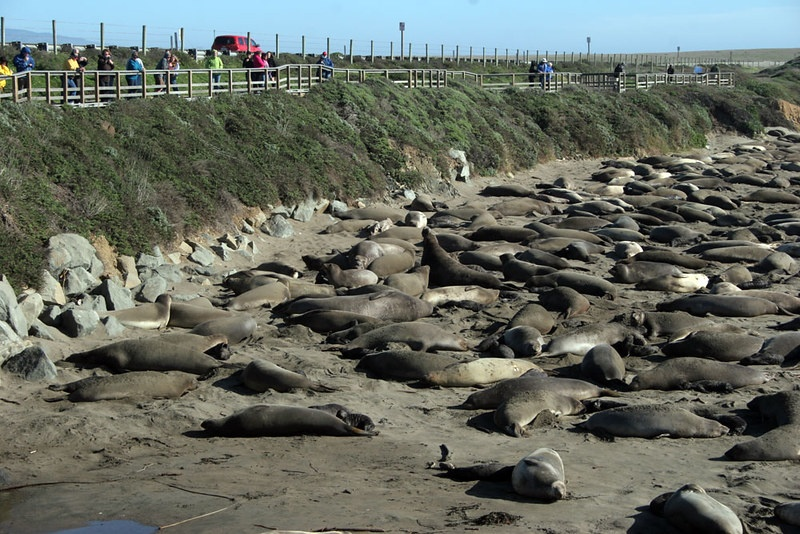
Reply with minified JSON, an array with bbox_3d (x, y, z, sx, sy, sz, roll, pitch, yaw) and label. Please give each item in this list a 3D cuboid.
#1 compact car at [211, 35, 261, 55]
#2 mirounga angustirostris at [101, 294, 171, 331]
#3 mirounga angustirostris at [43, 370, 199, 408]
[{"bbox_3d":[-8.951,-12.039,41.017,2.236,1.157,4.144,0,11,-13],"label":"compact car"},{"bbox_3d":[-4.475,0.829,13.085,0.894,0.272,0.628,1,11,-30],"label":"mirounga angustirostris"},{"bbox_3d":[-3.745,1.714,10.773,2.481,0.503,0.503,0,36,-7],"label":"mirounga angustirostris"}]
